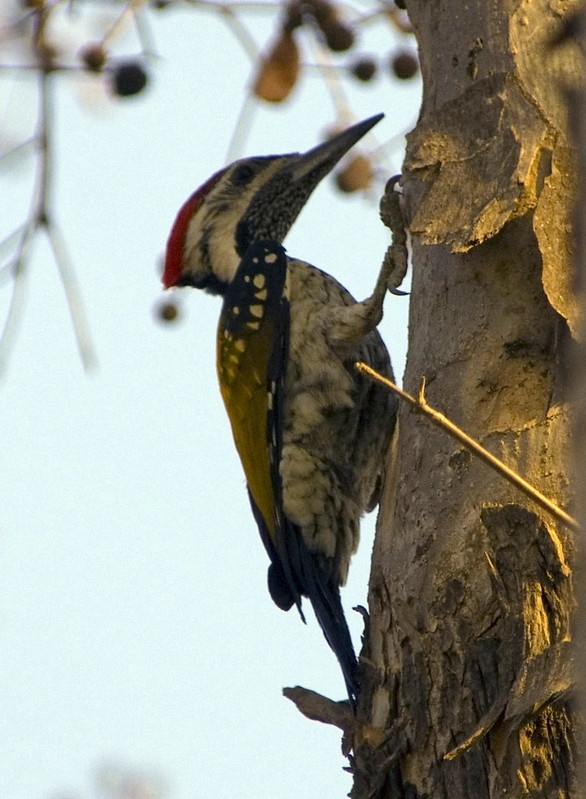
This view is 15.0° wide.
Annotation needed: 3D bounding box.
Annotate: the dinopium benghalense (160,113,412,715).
[{"bbox_3d":[0.049,0.012,6.545,0.611,1.632,0.427,-22,-24,5],"label":"dinopium benghalense"}]
